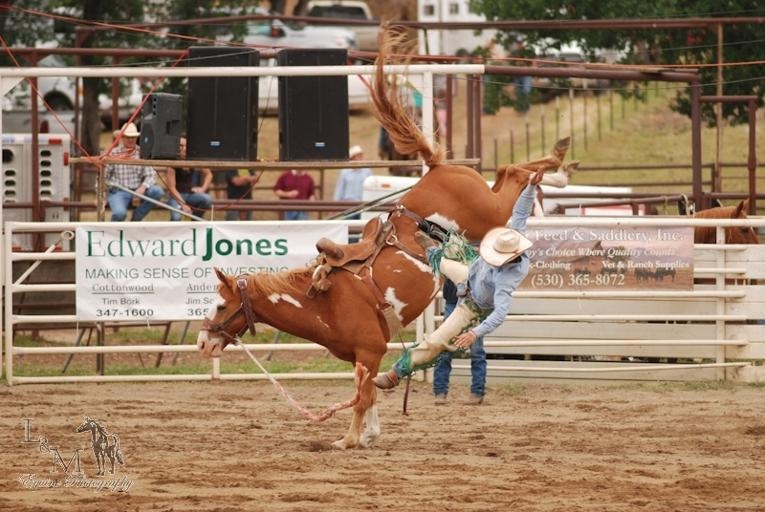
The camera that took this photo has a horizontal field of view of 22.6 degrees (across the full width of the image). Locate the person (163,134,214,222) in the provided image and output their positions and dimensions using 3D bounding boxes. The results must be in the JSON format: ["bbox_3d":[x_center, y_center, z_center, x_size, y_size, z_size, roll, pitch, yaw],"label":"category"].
[{"bbox_3d":[-3.241,-1.293,32.252,0.742,1.644,0.833,5,-10,-9],"label":"person"}]

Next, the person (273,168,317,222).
[{"bbox_3d":[-1.668,-1.028,35.199,0.853,1.103,0.344,4,-1,-25],"label":"person"}]

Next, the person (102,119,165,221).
[{"bbox_3d":[-4.198,-1.280,31.890,1.099,1.664,0.954,-1,13,8],"label":"person"}]

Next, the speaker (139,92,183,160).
[{"bbox_3d":[-3.583,-2.050,30.530,0.563,1.016,0.594,0,5,-30],"label":"speaker"}]

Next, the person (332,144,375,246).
[{"bbox_3d":[-0.487,-0.915,35.637,0.810,2.147,0.564,-5,-3,9],"label":"person"}]

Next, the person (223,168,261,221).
[{"bbox_3d":[-2.655,-1.098,35.114,0.447,1.314,0.398,-2,42,-6],"label":"person"}]
